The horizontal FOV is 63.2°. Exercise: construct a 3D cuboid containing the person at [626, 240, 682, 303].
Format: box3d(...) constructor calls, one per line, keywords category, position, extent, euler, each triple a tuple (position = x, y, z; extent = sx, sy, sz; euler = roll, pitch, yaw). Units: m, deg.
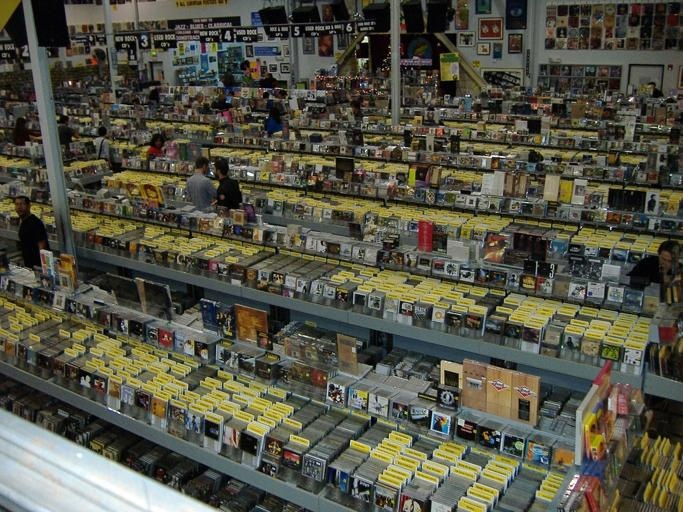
box3d(category="person", position=(3.038, 0.080, 5.363), extent=(0.421, 0.377, 0.875), euler=(9, 19, 27))
